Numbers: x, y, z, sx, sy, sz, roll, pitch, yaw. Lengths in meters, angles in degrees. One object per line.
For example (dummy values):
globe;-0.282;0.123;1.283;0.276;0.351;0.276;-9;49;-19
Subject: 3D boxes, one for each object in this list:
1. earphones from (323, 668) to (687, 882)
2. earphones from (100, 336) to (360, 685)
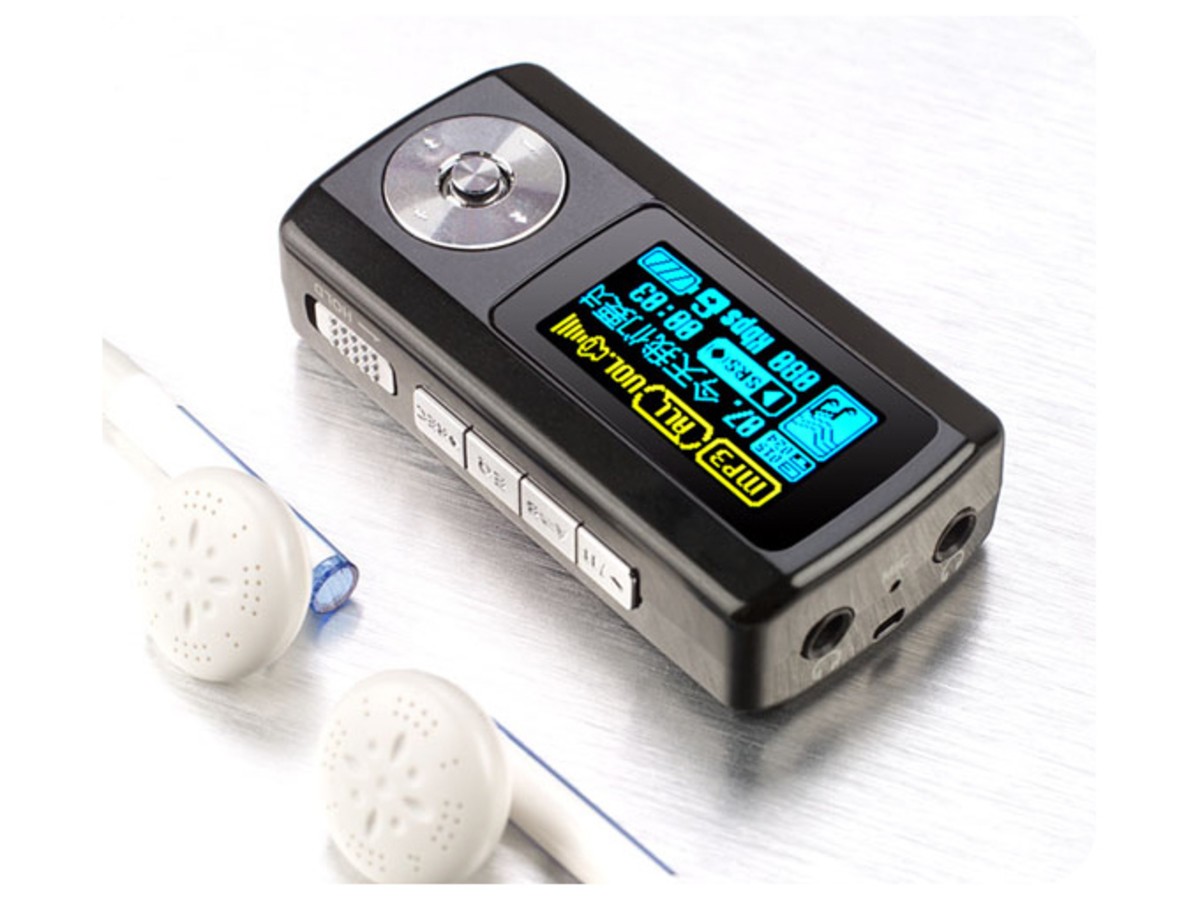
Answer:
earphones;-0.083;0.203;0.769;0.165;0.168;0.068;35;46;26
earphones;-0.272;0.053;0.924;0.206;0.135;0.140;27;45;30
